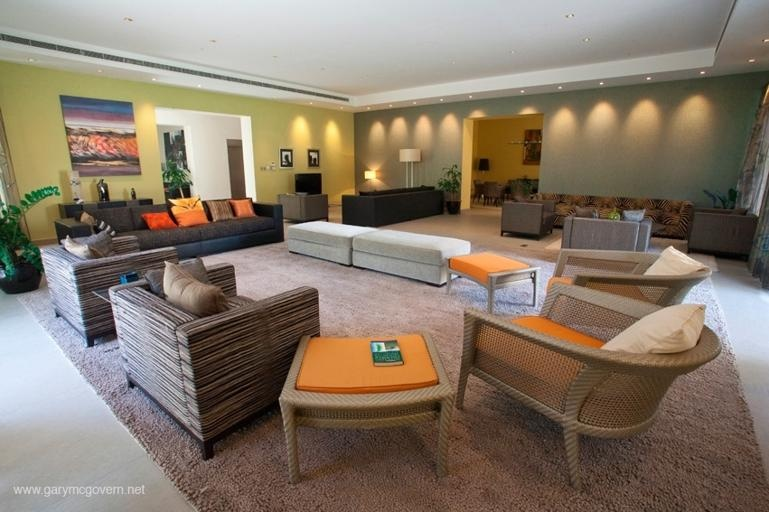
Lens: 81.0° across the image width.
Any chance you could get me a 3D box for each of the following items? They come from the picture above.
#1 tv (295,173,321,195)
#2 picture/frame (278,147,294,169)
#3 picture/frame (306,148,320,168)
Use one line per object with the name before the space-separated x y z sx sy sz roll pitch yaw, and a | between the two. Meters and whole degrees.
tv | -2.004 -1.876 11.637 0.725 0.471 0.413 -7 15 -40
picture/frame | -2.525 -2.525 11.488 0.050 0.600 0.620 12 12 32
picture/frame | -1.968 -2.688 12.236 0.082 0.564 0.617 6 9 29
